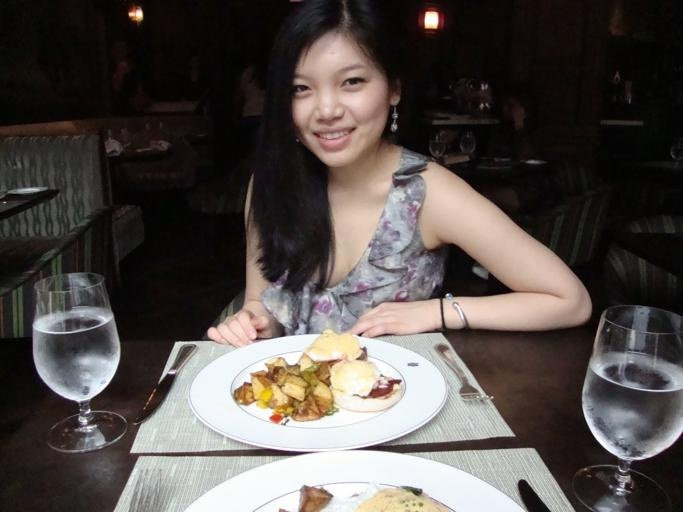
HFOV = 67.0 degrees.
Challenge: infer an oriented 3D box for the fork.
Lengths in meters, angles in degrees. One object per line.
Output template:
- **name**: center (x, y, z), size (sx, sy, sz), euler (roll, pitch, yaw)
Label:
- **fork**: center (0.236, 0.229, 1.026), size (0.034, 0.020, 0.137), euler (-7, 21, -9)

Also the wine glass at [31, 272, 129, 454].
- **wine glass**: center (-0.458, 0.180, 0.898), size (0.144, 0.279, 0.135), euler (-7, 10, -29)

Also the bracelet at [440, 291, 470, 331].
- **bracelet**: center (0.294, 0.136, 1.352), size (0.064, 0.030, 0.088), euler (-24, -2, 44)

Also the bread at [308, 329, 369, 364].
- **bread**: center (-0.016, 0.183, 1.058), size (0.070, 0.026, 0.068), euler (-4, 16, -12)
